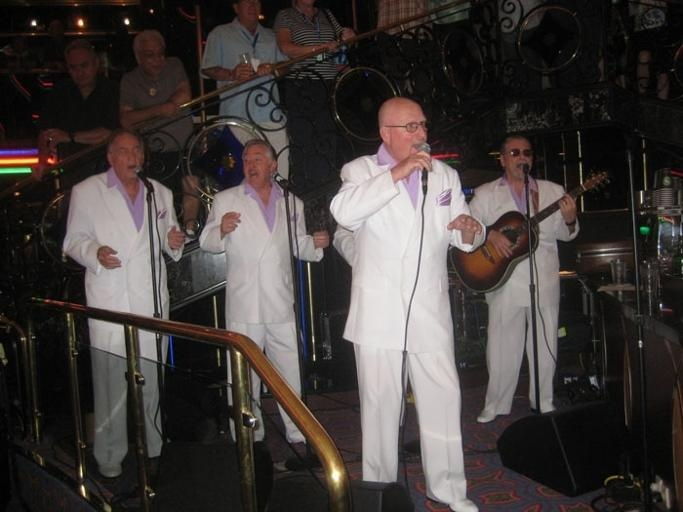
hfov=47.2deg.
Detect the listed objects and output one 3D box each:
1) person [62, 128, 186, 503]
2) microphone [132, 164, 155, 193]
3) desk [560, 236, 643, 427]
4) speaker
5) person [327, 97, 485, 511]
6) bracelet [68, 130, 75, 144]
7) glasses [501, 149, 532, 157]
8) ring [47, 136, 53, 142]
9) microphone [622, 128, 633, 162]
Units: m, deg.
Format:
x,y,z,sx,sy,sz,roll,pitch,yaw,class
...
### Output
x,y,z,sx,sy,sz,roll,pitch,yaw,class
-1.440,0.275,5.460,0.828,2.422,1.190,0,-4,-28,person
-1.429,-0.573,5.646,0.081,0.095,0.301,-3,36,-33,microphone
2.108,0.626,6.335,0.477,1.364,1.397,0,-3,6,desk
1.520,1.231,5.351,0.599,0.406,0.597,-3,3,-32,speaker
0.415,0.315,4.940,0.907,2.675,0.547,-2,-4,-1,person
-2.464,-1.110,7.169,0.099,0.124,0.032,1,-1,-15,bracelet
1.440,-0.854,6.429,0.231,0.066,0.068,-3,-4,13,glasses
-2.648,-1.085,7.127,0.047,0.051,0.011,1,1,5,ring
1.774,-0.688,4.823,0.048,0.215,0.192,-3,-4,19,microphone
